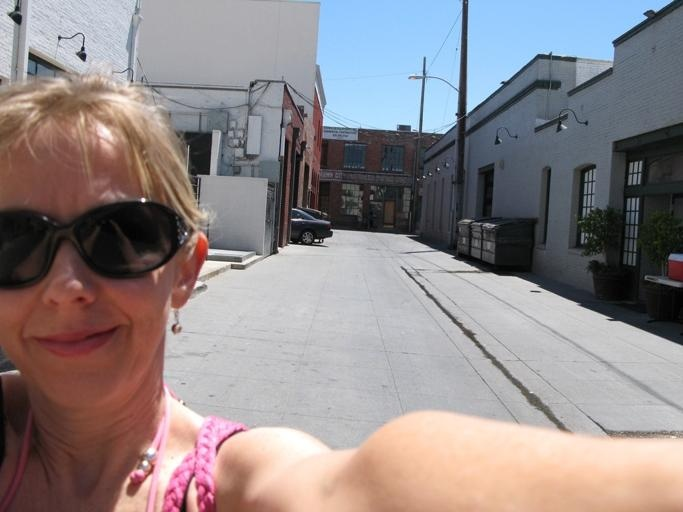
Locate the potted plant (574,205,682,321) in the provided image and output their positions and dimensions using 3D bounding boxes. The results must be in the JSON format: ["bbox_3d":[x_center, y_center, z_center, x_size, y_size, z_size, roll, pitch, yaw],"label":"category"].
[{"bbox_3d":[5.664,0.129,10.636,0.883,1.730,1.805,-8,12,-41],"label":"potted plant"}]

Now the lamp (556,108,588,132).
[{"bbox_3d":[6.186,-3.632,14.389,0.966,0.640,0.442,-2,0,-11],"label":"lamp"}]

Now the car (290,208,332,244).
[{"bbox_3d":[-1.386,-1.252,23.505,2.177,0.960,1.026,4,2,1],"label":"car"}]
